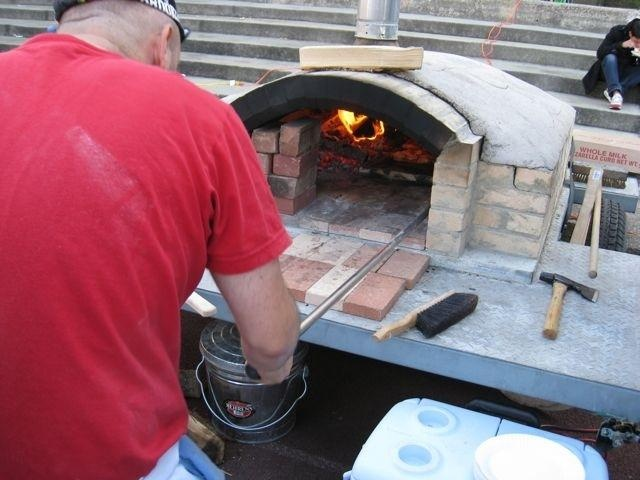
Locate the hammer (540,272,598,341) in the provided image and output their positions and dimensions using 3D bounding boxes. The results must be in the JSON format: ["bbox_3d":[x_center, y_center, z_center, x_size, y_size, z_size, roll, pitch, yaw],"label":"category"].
[{"bbox_3d":[1.147,0.304,2.446,0.274,0.091,0.552,15,34,23],"label":"hammer"}]

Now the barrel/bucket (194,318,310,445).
[{"bbox_3d":[-0.316,0.705,2.864,0.631,0.627,0.644,1,25,0],"label":"barrel/bucket"}]

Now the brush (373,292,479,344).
[{"bbox_3d":[0.492,0.343,2.314,0.592,0.106,0.160,-25,39,-36],"label":"brush"}]
